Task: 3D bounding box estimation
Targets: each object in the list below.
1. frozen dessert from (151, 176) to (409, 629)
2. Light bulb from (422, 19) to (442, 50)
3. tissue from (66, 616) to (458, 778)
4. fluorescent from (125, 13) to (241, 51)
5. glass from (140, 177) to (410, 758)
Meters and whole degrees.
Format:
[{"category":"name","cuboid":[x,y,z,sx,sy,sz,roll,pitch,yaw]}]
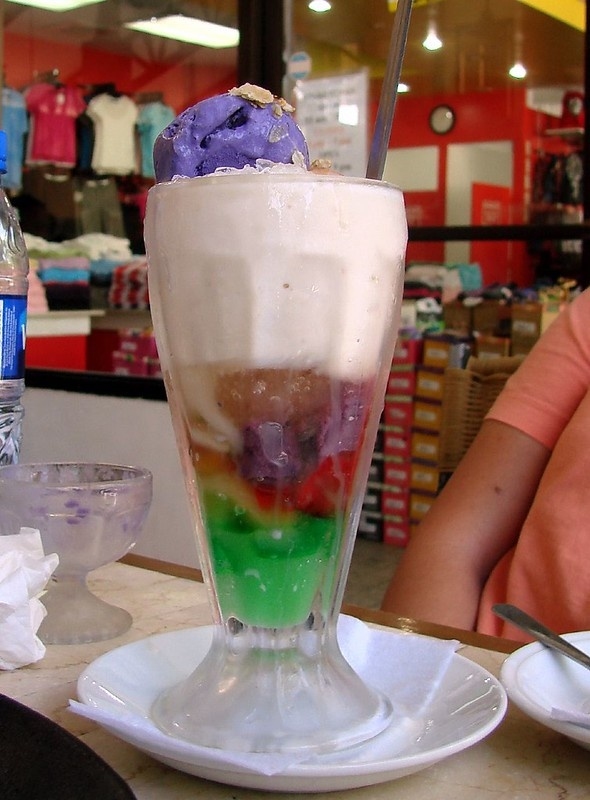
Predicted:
[{"category":"frozen dessert","cuboid":[-0.010,0.007,0.370,0.107,0.218,0.039,1,15,-3]},{"category":"Light bulb","cuboid":[0.354,-0.974,2.082,0.057,0.053,0.051,-1,17,0]},{"category":"tissue","cuboid":[-0.004,0.126,0.386,0.124,0.055,0.096,0,-2,-18]},{"category":"fluorescent","cuboid":[-0.327,-1.066,2.275,0.362,0.095,0.026,6,15,22]},{"category":"glass","cuboid":[-0.023,0.030,0.423,0.148,0.284,0.095,0,7,-6]}]
